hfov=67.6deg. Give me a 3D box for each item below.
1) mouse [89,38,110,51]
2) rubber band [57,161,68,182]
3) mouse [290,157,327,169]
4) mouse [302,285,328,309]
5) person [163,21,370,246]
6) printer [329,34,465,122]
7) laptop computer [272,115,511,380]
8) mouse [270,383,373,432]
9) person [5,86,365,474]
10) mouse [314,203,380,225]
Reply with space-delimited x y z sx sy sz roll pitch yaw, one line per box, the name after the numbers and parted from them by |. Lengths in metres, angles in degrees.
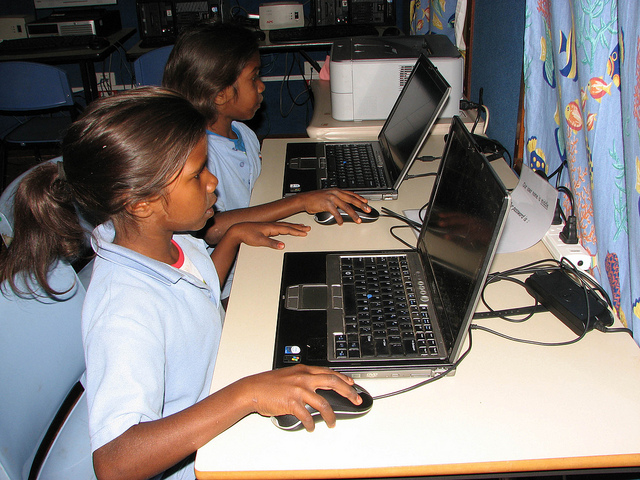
-1.566 -1.398 3.413 0.130 0.044 0.125 4 36 17 | mouse
-0.553 -0.146 1.028 0.014 0.040 0.029 -13 10 3 | rubber band
-0.042 -0.274 1.764 0.122 0.017 0.058 1 38 1 | mouse
-0.013 0.133 1.130 0.046 0.011 0.048 0 37 -1 | mouse
-0.195 -0.367 1.904 0.761 0.864 0.734 16 32 8 | person
0.372 -0.708 2.124 0.577 0.255 0.611 -2 26 7 | printer
0.111 -0.003 1.086 0.583 0.362 0.599 7 30 23 | laptop computer
-0.001 0.306 0.896 0.171 0.048 0.081 -9 31 -7 | mouse
-0.302 0.106 1.110 0.465 0.884 0.628 -8 43 -6 | person
0.079 -0.068 1.423 0.139 0.042 0.077 -2 17 1 | mouse
